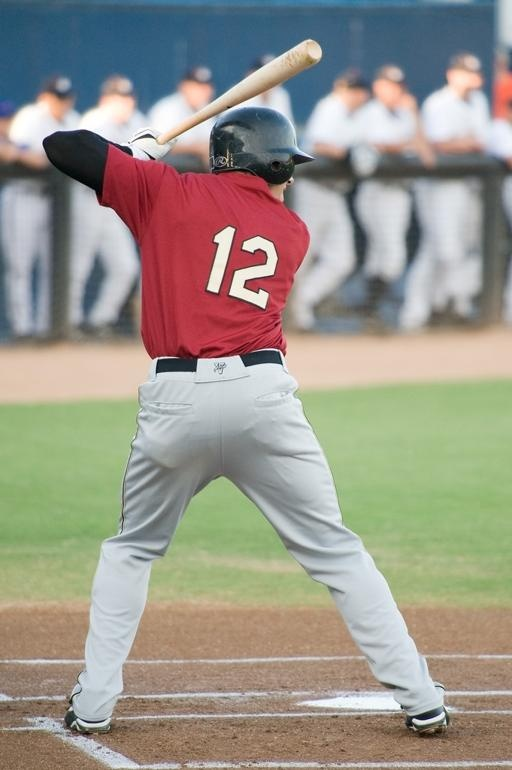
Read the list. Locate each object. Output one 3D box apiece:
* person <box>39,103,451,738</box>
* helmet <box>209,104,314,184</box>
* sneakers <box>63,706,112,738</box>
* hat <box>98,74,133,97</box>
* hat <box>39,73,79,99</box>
[{"bbox_3d":[-0.039,0.125,3.060,0.934,1.522,0.327,-1,9,4],"label":"person"},{"bbox_3d":[0.020,-0.635,3.209,0.294,0.191,0.201,-4,13,-14],"label":"helmet"},{"bbox_3d":[-0.433,0.861,3.122,0.060,0.047,0.113,2,2,-7],"label":"sneakers"},{"bbox_3d":[-1.003,-2.136,8.720,0.195,0.157,0.350,-3,8,-10],"label":"hat"},{"bbox_3d":[-1.453,-2.175,8.829,0.299,0.143,0.347,-4,8,-31],"label":"hat"}]
